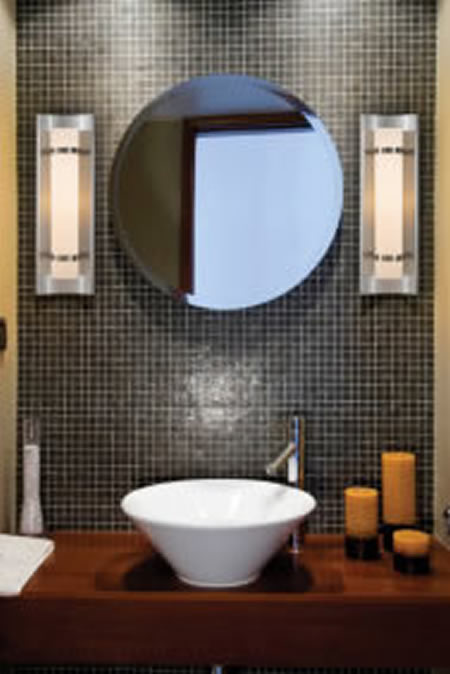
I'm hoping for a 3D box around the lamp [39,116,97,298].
[{"bbox_3d":[-0.407,-0.339,1.813,0.150,0.459,0.108,-1,1,-11],"label":"lamp"}]

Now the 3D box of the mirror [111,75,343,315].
[{"bbox_3d":[0.016,-0.361,1.789,0.582,0.723,0.027,0,-24,-1],"label":"mirror"}]

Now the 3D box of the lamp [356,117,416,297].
[{"bbox_3d":[0.413,-0.327,1.800,0.132,0.470,0.056,1,-15,10],"label":"lamp"}]

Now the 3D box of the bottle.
[{"bbox_3d":[-0.476,0.349,1.753,0.060,0.297,0.045,-1,1,-19],"label":"bottle"}]
